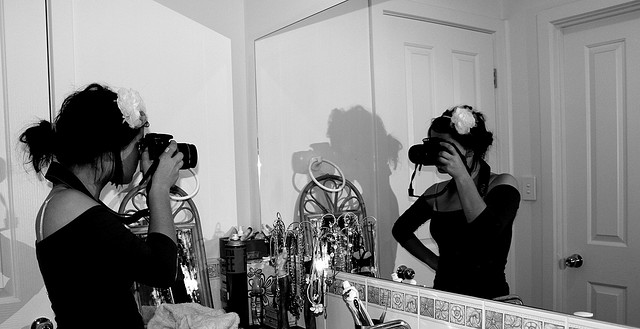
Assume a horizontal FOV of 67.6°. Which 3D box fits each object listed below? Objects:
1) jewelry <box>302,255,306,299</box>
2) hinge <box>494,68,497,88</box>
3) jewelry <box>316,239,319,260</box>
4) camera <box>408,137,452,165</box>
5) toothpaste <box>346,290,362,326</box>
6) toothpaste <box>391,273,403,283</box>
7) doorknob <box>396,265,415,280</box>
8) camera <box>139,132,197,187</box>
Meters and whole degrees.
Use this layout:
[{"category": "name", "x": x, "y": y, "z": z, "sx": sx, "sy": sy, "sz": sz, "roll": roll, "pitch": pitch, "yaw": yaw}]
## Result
[{"category": "jewelry", "x": -0.085, "y": 0.621, "z": 2.591, "sx": 0.020, "sy": 0.229, "sz": 0.083, "roll": -2, "pitch": -4, "yaw": -4}, {"category": "hinge", "x": 0.734, "y": -0.362, "z": 2.002, "sx": 0.013, "sy": 0.078, "sz": 0.003, "roll": -4, "pitch": -5, "yaw": 21}, {"category": "jewelry", "x": -0.012, "y": 0.455, "z": 2.549, "sx": 0.009, "sy": 0.097, "sz": 0.031, "roll": -2, "pitch": -4, "yaw": -7}, {"category": "camera", "x": 0.485, "y": -0.058, "z": 2.188, "sx": 0.238, "sy": 0.103, "sz": 0.231, "roll": -5, "pitch": 3, "yaw": -21}, {"category": "toothpaste", "x": 0.157, "y": 0.653, "z": 2.165, "sx": 0.082, "sy": 0.170, "sz": 0.038, "roll": 1, "pitch": -6, "yaw": -43}, {"category": "toothpaste", "x": 0.367, "y": 0.551, "z": 2.314, "sx": 0.043, "sy": 0.034, "sz": 0.035, "roll": 5, "pitch": -28, "yaw": 7}, {"category": "doorknob", "x": 0.407, "y": 0.518, "z": 2.283, "sx": 0.032, "sy": 0.043, "sz": 0.076, "roll": -8, "pitch": 6, "yaw": -41}, {"category": "camera", "x": -0.723, "y": -0.016, "z": 2.257, "sx": 0.247, "sy": 0.214, "sz": 0.389, "roll": 0, "pitch": 5, "yaw": -18}]
